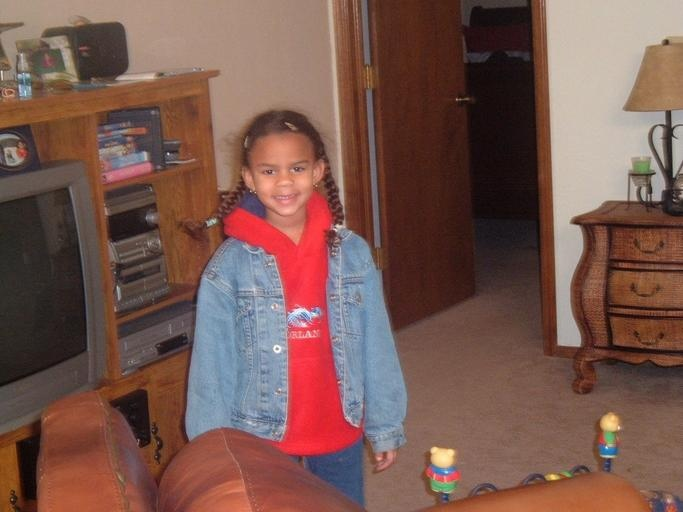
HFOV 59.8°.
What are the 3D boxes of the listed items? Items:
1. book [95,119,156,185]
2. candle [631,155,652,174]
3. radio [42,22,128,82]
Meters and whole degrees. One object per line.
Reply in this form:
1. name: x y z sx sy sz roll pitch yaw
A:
1. book: -0.814 -0.387 2.219 0.130 0.204 0.242 -2 13 36
2. candle: 1.568 -0.465 3.105 0.116 0.088 0.127 0 2 2
3. radio: -0.941 -0.758 2.202 0.153 0.197 0.274 10 29 17
